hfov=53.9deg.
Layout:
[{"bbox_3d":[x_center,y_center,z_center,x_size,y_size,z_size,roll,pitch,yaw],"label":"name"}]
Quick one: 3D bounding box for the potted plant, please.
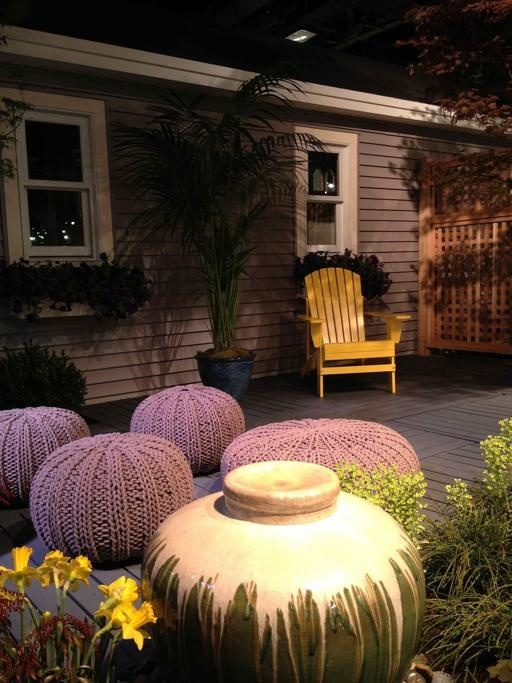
[{"bbox_3d":[-0.417,-1.113,5.302,2.300,3.091,1.839,-3,-2,-7],"label":"potted plant"}]
